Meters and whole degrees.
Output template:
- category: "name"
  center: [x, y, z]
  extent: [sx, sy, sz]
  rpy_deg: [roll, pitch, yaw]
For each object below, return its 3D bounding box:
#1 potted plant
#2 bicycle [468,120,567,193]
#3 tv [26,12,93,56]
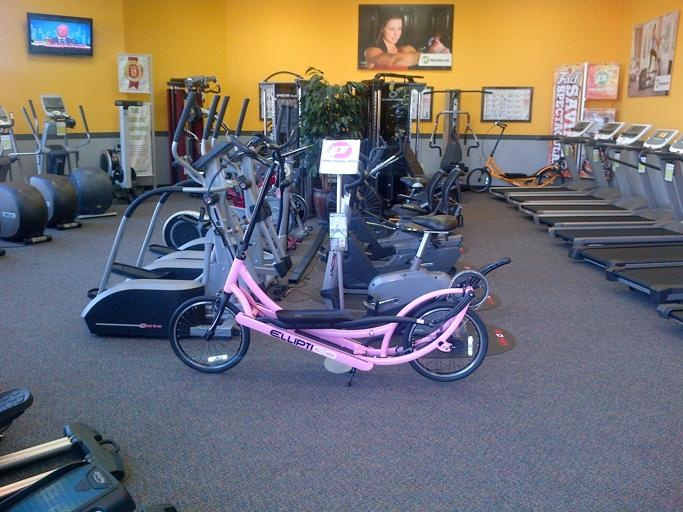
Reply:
- category: "potted plant"
  center: [-0.075, -1.823, 7.282]
  extent: [0.684, 1.454, 0.765]
  rpy_deg: [-12, -24, -6]
- category: "bicycle"
  center: [3.541, -1.945, 11.042]
  extent: [1.979, 1.176, 0.850]
  rpy_deg: [1, 10, -2]
- category: "tv"
  center: [-4.413, -3.449, 8.429]
  extent: [0.878, 0.486, 0.091]
  rpy_deg: [-8, 18, -34]
